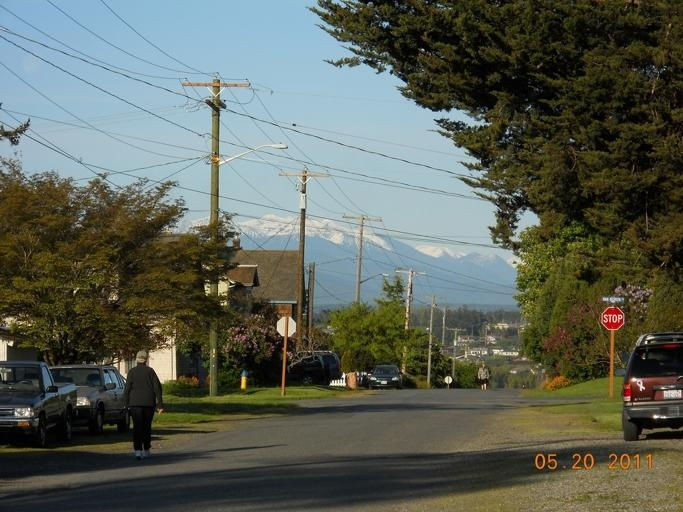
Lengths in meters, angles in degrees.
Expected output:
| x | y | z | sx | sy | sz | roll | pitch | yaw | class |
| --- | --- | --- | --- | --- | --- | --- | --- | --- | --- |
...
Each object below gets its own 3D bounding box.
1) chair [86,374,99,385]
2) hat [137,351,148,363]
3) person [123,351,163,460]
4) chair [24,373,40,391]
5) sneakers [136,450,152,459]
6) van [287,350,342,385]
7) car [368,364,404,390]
| x | y | z | sx | sy | sz | roll | pitch | yaw | class |
| --- | --- | --- | --- | --- | --- | --- | --- | --- | --- |
| -7.390 | 3.629 | 42.326 | 0.311 | 0.304 | 0.295 | 5 | -17 | -12 | chair |
| -5.206 | 2.620 | 37.276 | 0.237 | 0.274 | 0.309 | 0 | 2 | 2 | hat |
| -5.177 | 3.790 | 37.202 | 0.923 | 2.822 | 1.149 | 0 | -9 | -9 | person |
| -8.471 | 3.429 | 38.998 | 0.442 | 0.228 | 0.608 | 2 | -2 | -19 | chair |
| -5.138 | 5.047 | 36.829 | 0.153 | 0.187 | 0.454 | 1 | 0 | 8 | sneakers |
| -1.396 | 5.553 | 70.953 | 2.404 | 1.216 | 1.416 | 8 | -10 | -37 | van |
| 2.215 | 6.109 | 73.712 | 1.633 | 1.257 | 1.999 | -1 | -9 | 1 | car |
